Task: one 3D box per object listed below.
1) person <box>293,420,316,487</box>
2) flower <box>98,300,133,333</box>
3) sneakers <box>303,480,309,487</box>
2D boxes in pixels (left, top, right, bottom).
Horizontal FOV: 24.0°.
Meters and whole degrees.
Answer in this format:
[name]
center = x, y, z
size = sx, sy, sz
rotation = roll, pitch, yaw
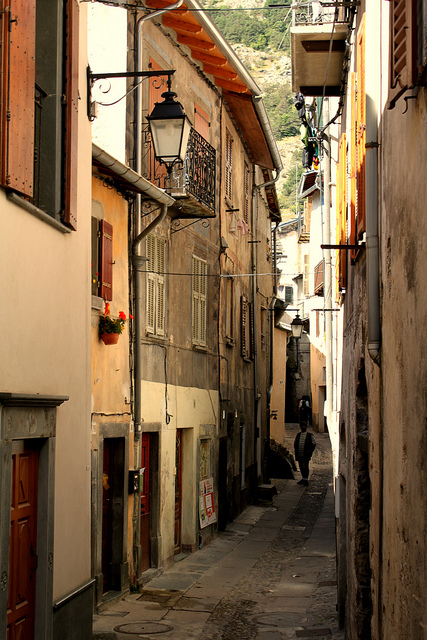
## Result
[person]
center = 2.244, 3.351, 25.289
size = 0.348, 1.719, 0.340
rotation = 0, 20, 9
[flower]
center = -1.127, 0.004, 11.147
size = 0.259, 0.403, 0.242
rotation = 4, -7, -40
[sneakers]
center = 2.268, 4.033, 24.873
size = 0.077, 0.161, 0.103
rotation = 0, -2, -8
